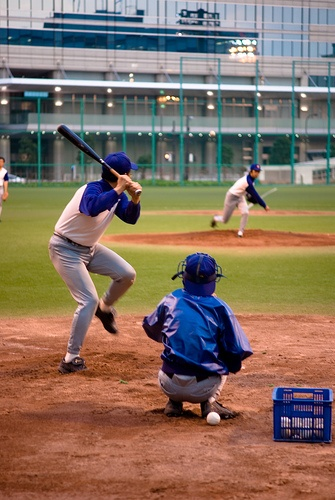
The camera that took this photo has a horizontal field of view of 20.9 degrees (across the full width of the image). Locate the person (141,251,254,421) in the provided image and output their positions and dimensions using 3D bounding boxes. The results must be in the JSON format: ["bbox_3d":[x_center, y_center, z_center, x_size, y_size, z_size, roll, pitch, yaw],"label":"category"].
[{"bbox_3d":[0.190,0.565,5.902,0.703,1.088,0.409,1,3,3],"label":"person"}]

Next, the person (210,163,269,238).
[{"bbox_3d":[1.309,-0.907,16.577,0.958,1.357,1.859,1,3,3],"label":"person"}]

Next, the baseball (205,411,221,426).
[{"bbox_3d":[0.303,1.078,5.819,0.084,0.081,0.081,10,2,-39],"label":"baseball"}]

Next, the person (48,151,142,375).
[{"bbox_3d":[-0.539,0.086,7.133,0.880,1.685,0.808,1,1,20],"label":"person"}]

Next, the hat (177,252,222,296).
[{"bbox_3d":[0.198,0.159,5.875,0.294,0.274,0.272,1,3,0],"label":"hat"}]

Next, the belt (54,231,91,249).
[{"bbox_3d":[-0.775,-0.072,7.107,0.149,0.053,0.132,30,-3,9],"label":"belt"}]

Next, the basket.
[{"bbox_3d":[0.833,1.023,5.643,0.360,0.318,0.309,1,3,7],"label":"basket"}]

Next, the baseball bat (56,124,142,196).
[{"bbox_3d":[-0.519,-0.672,6.893,0.920,0.102,0.141,40,-12,13],"label":"baseball bat"}]
